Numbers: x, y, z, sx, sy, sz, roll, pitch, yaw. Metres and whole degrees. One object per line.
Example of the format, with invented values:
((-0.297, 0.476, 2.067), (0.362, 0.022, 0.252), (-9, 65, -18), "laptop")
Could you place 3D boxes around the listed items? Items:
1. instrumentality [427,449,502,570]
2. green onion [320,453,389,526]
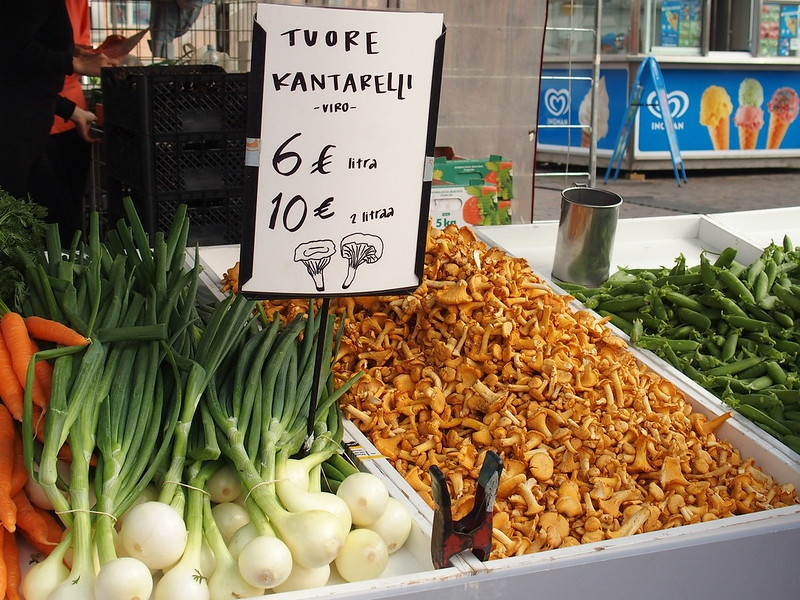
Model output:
((0.179, 0.590, 1.860), (0.233, 0.479, 0.098), (-11, 26, -21), "instrumentality")
((-0.133, 0.552, 1.962), (0.088, 0.090, 0.199), (12, -1, -19), "green onion")
